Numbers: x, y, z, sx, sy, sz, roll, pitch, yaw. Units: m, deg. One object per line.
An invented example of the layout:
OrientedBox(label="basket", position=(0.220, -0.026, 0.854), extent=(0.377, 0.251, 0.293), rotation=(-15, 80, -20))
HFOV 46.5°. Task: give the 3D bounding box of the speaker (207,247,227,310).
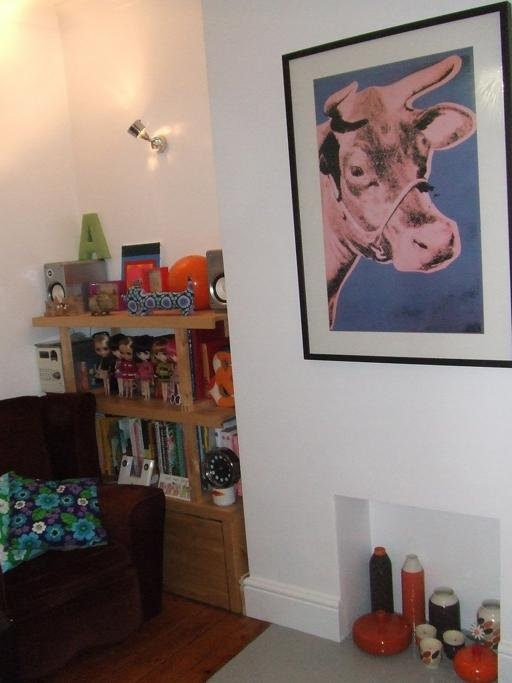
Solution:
OrientedBox(label="speaker", position=(-0.158, -0.238, 2.307), extent=(0.038, 0.231, 0.110), rotation=(-9, 5, -44))

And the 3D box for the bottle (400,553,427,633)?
OrientedBox(label="bottle", position=(0.537, 0.847, 2.034), extent=(0.085, 0.290, 0.168), rotation=(-5, 4, 11))

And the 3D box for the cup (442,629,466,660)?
OrientedBox(label="cup", position=(0.621, 0.949, 1.858), extent=(0.065, 0.075, 0.077), rotation=(-6, 4, -9))

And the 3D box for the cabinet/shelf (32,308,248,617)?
OrientedBox(label="cabinet/shelf", position=(-0.434, 0.501, 2.342), extent=(1.150, 0.982, 0.349), rotation=(7, 15, 25))

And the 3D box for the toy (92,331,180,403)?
OrientedBox(label="toy", position=(-0.538, 0.119, 2.671), extent=(0.337, 0.194, 0.090), rotation=(5, 6, 34))

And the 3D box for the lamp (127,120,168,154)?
OrientedBox(label="lamp", position=(-0.495, -0.939, 2.718), extent=(0.179, 0.115, 0.109), rotation=(25, -31, -18))
